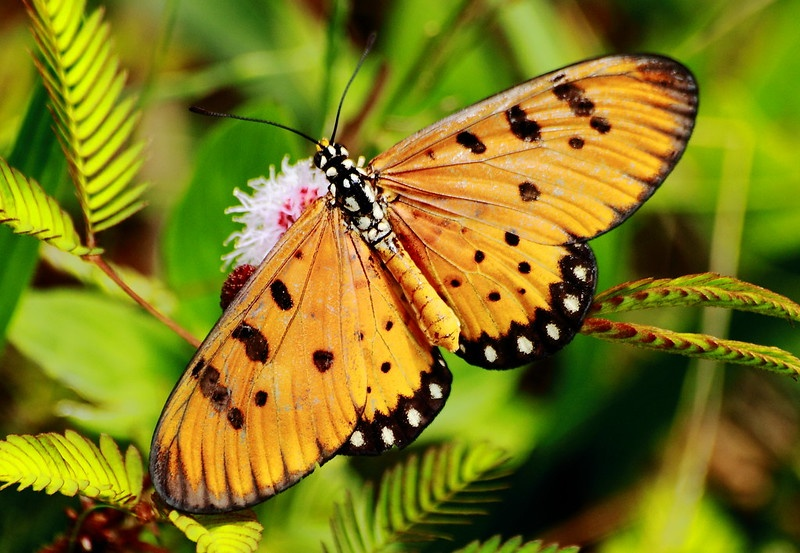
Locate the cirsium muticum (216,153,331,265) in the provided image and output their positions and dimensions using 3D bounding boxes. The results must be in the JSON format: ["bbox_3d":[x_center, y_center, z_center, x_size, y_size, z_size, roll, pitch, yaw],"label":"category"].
[{"bbox_3d":[-0.443,-0.243,3.352,0.354,0.390,0.156,5,-12,0],"label":"cirsium muticum"}]
